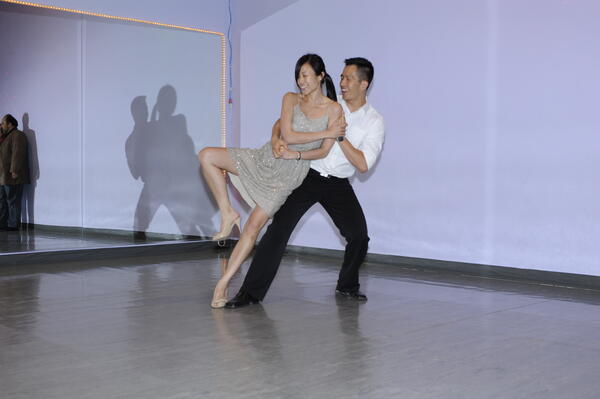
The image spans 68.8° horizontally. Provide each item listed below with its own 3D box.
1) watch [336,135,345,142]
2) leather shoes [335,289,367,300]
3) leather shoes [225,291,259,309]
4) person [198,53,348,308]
[{"bbox_3d":[0.307,-0.463,3.313,0.064,0.049,0.100,1,2,10],"label":"watch"},{"bbox_3d":[0.446,0.835,3.827,0.257,0.093,0.094,-3,-3,33],"label":"leather shoes"},{"bbox_3d":[-0.465,0.811,3.528,0.290,0.122,0.106,4,-7,-32],"label":"leather shoes"},{"bbox_3d":[-0.215,-0.125,3.391,1.102,1.962,0.361,1,1,-5],"label":"person"}]
